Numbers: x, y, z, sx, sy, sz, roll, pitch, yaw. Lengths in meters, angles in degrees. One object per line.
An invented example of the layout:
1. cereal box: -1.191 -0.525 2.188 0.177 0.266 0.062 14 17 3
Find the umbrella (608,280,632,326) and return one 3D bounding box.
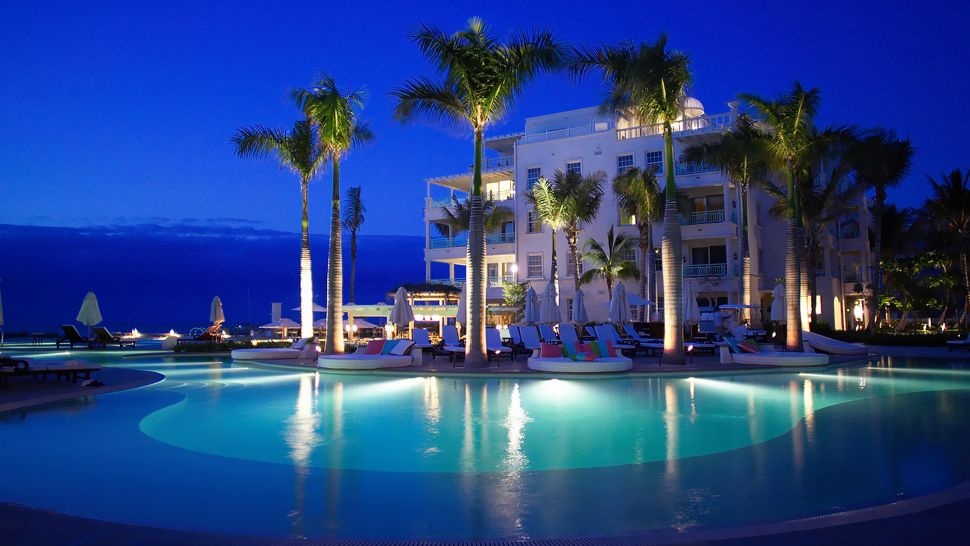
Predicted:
1. umbrella: 9.033 1.883 51.240 1.198 2.955 5.563 -2 -7 12

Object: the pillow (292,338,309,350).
1. pillow: -11.216 4.356 47.083 0.792 0.267 0.755 -9 19 13

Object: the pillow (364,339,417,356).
1. pillow: -5.353 4.242 43.679 2.617 0.838 0.926 -3 -10 10

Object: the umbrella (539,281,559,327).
1. umbrella: 4.087 1.869 48.537 1.155 2.597 1.291 -3 -8 19

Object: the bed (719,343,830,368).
1. bed: 15.984 4.673 43.230 5.298 1.336 1.270 -1 -7 3

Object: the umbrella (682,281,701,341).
1. umbrella: 12.944 2.586 48.173 1.223 3.763 1.313 -5 3 4

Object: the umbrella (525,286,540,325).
1. umbrella: 3.014 2.011 49.286 0.914 2.269 1.959 -1 -7 4

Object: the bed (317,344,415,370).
1. bed: -6.415 4.584 42.872 4.838 1.696 1.536 0 -7 -4
